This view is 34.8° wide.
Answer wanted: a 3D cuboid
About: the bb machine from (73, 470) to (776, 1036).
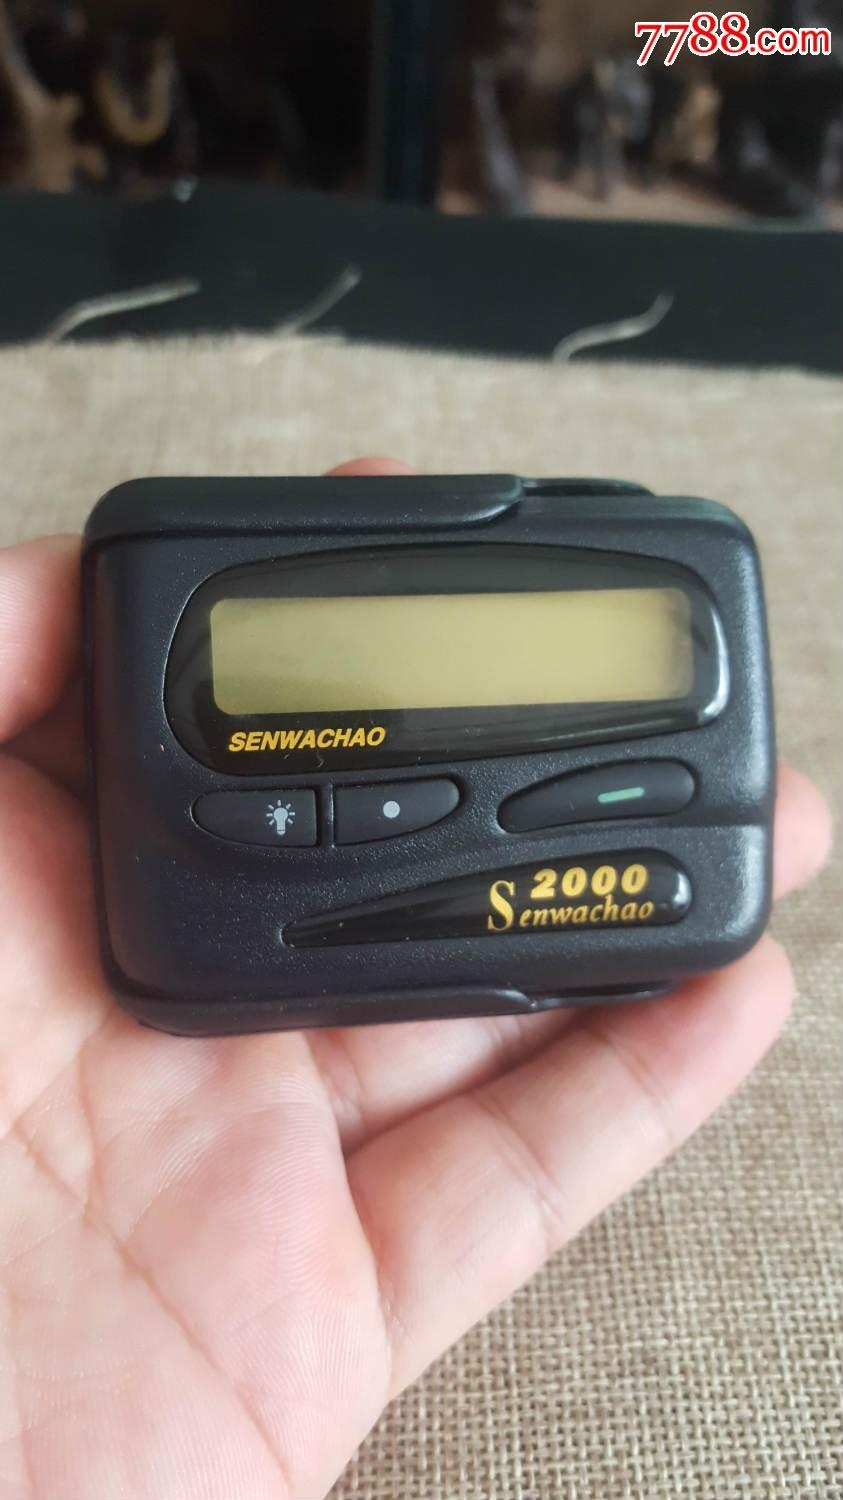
[{"bbox_3d":[0.000,-0.001,0.683,0.303,0.099,0.245,-1,96,-7],"label":"bb machine"}]
